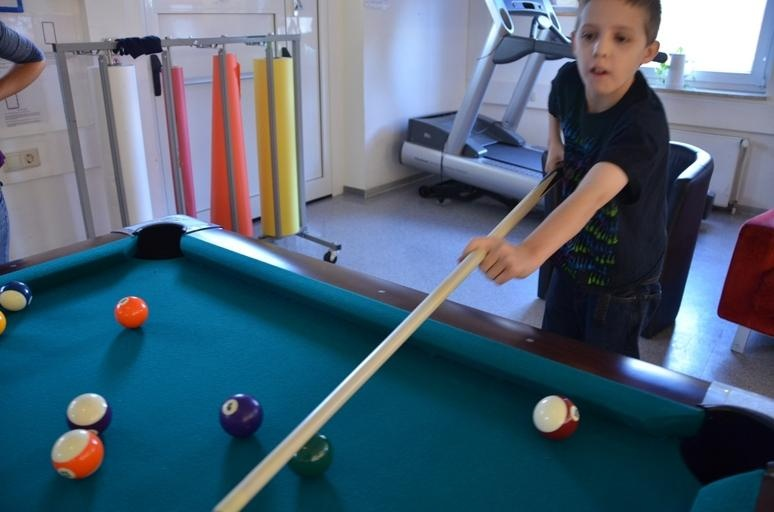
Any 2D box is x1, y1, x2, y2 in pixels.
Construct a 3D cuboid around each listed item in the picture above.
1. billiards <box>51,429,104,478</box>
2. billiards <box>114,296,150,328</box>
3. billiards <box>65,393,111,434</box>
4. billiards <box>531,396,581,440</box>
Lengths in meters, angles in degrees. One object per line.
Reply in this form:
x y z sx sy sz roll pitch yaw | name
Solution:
-0.711 0.453 1.266 0.093 0.102 0.110 24 33 39 | billiards
-0.760 0.165 1.654 0.094 0.095 0.092 -7 30 -37 | billiards
-0.713 0.382 1.335 0.095 0.087 0.092 -8 38 -12 | billiards
0.426 0.392 1.326 0.136 0.087 0.072 -3 26 -10 | billiards
